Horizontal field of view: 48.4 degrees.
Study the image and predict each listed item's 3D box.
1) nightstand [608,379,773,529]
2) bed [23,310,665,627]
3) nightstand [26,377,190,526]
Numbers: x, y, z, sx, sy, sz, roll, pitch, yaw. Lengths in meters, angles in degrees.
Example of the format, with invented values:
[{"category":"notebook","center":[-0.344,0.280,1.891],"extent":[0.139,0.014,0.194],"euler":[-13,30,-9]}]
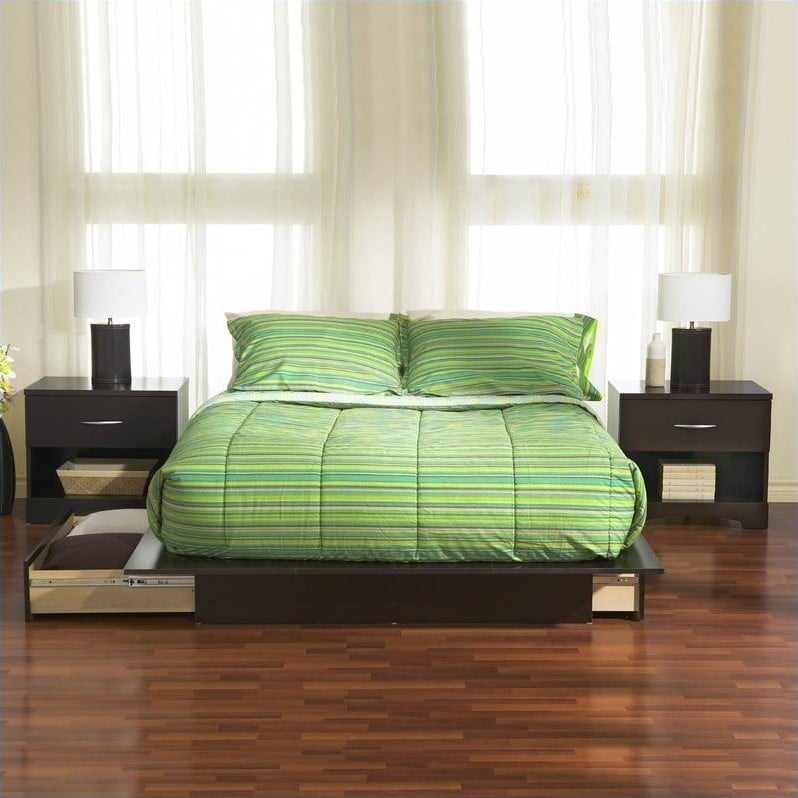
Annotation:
[{"category":"nightstand","center":[1.279,0.271,3.983],"extent":[0.671,0.519,0.426],"euler":[1,-9,-2]},{"category":"bed","center":[-0.200,0.186,3.240],"extent":[2.021,0.902,1.327],"euler":[0,9,0]},{"category":"nightstand","center":[-1.359,0.141,4.086],"extent":[0.943,0.713,0.628],"euler":[0,4,-4]}]
